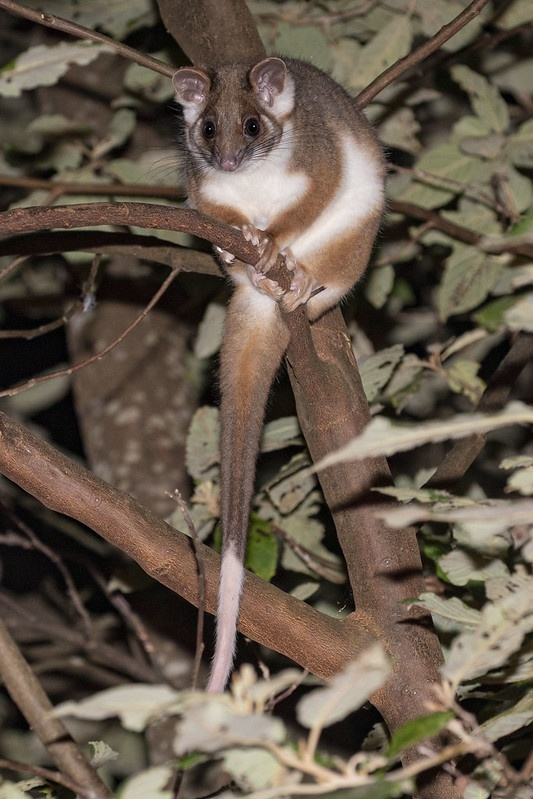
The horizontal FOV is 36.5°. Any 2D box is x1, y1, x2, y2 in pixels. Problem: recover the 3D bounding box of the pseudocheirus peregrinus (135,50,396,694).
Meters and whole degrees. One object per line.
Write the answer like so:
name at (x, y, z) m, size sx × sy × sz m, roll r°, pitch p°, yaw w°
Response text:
pseudocheirus peregrinus at (0.038, -0.156, 2.560) m, size 0.660 × 1.822 × 0.613 m, roll 0°, pitch 8°, yaw 4°
